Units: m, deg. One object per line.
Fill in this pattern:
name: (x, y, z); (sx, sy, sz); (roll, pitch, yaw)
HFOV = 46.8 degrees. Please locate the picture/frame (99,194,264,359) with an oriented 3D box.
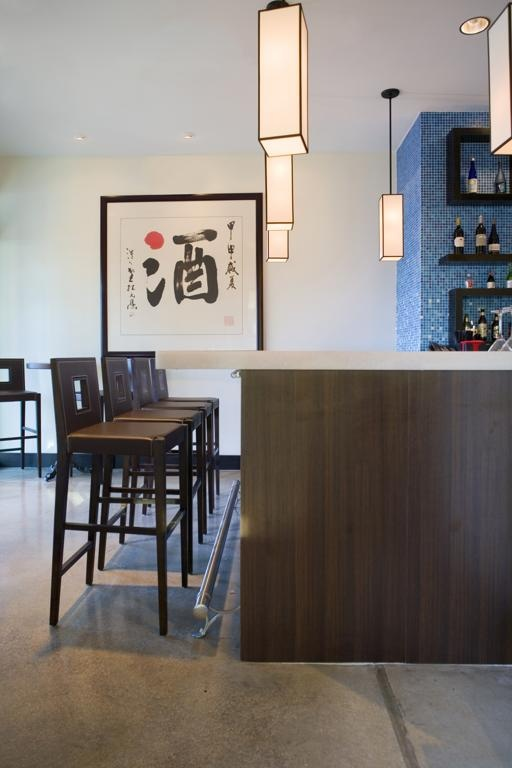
picture/frame: (-0.549, -0.890, 4.579); (1.140, 1.412, 0.050); (0, 1, 1)
